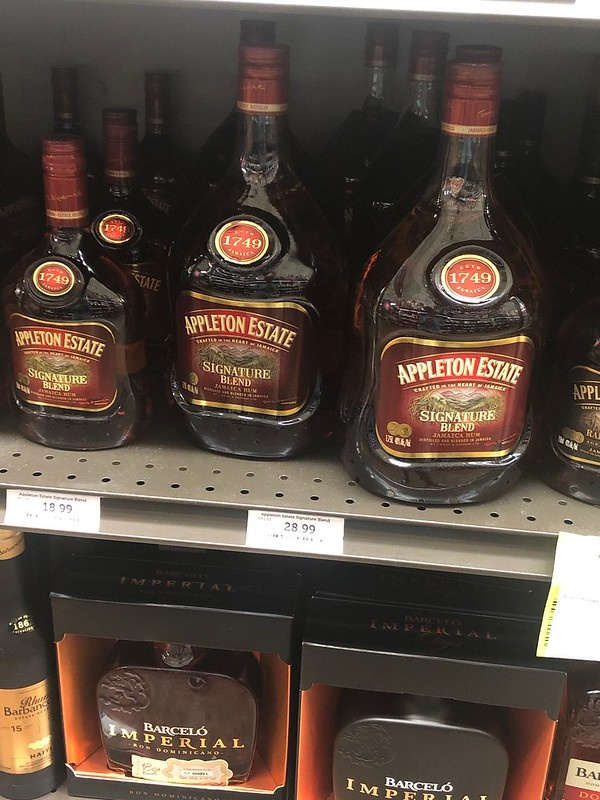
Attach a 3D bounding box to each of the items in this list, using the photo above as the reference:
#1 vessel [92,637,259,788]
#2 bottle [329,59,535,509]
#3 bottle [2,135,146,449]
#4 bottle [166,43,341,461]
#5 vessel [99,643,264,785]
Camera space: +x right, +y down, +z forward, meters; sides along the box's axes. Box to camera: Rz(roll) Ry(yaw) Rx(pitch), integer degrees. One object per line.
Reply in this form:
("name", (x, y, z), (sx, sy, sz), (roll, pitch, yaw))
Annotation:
("vessel", (-0.162, 0.394, 1.010), (0.228, 0.277, 0.105), (6, 27, 0))
("bottle", (0.169, -0.113, 0.779), (0.232, 0.459, 0.173), (1, 35, 5))
("bottle", (-0.264, -0.107, 0.821), (0.165, 0.350, 0.084), (-5, 30, -11))
("bottle", (-0.048, -0.157, 0.857), (0.222, 0.470, 0.189), (7, 34, 4))
("vessel", (-0.156, 0.415, 0.974), (0.223, 0.274, 0.095), (5, 36, 4))
